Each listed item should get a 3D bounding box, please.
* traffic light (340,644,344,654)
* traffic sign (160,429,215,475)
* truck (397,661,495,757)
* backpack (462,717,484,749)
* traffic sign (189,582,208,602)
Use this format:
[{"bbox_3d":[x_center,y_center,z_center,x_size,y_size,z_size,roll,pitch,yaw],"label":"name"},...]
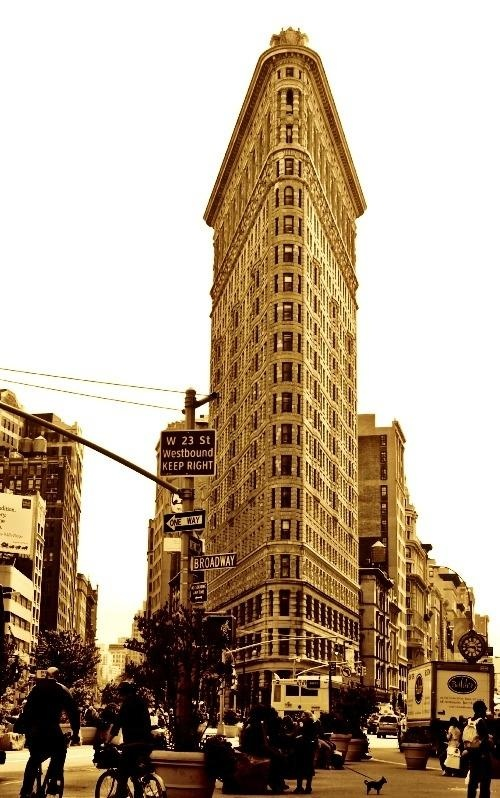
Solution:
[{"bbox_3d":[10.132,27.538,111.490,0.469,1.013,0.956,0,-7,4],"label":"traffic light"},{"bbox_3d":[-0.987,0.894,16.503,1.017,1.038,0.124,-2,-24,7],"label":"traffic sign"},{"bbox_3d":[8.918,13.011,42.197,3.343,4.459,6.849,1,-14,-1],"label":"truck"},{"bbox_3d":[3.411,5.107,15.529,0.320,0.453,0.494,-1,-20,12],"label":"backpack"},{"bbox_3d":[-0.936,3.513,18.480,0.294,0.374,0.649,4,-21,-3],"label":"traffic sign"}]
